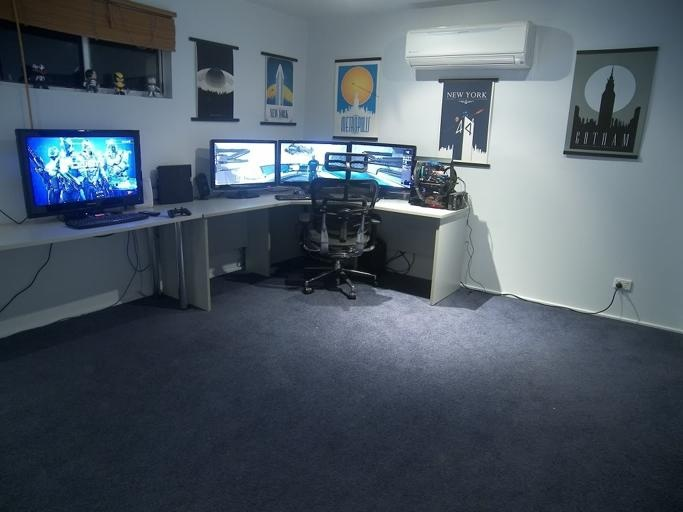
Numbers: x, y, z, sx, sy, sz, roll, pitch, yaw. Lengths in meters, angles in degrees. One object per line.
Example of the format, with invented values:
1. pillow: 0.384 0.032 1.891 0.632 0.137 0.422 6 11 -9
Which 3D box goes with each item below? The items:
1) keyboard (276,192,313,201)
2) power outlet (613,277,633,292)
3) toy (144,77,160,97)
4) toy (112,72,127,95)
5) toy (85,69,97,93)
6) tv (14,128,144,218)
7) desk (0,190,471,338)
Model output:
1. keyboard: -0.474 -0.577 4.711 0.217 0.031 0.154 -7 19 -24
2. power outlet: 2.415 0.246 4.136 0.147 0.116 0.021 12 19 28
3. toy: -1.599 -1.428 4.091 0.055 0.149 0.102 5 11 33
4. toy: -1.785 -1.383 3.877 0.099 0.162 0.050 -9 19 -32
5. toy: -1.928 -1.342 3.701 0.085 0.199 0.135 -2 19 -12
6. tv: -1.973 -0.617 3.548 0.066 0.470 0.641 5 14 36
7. desk: -0.816 -0.035 4.309 3.778 0.846 1.403 -5 19 -22
